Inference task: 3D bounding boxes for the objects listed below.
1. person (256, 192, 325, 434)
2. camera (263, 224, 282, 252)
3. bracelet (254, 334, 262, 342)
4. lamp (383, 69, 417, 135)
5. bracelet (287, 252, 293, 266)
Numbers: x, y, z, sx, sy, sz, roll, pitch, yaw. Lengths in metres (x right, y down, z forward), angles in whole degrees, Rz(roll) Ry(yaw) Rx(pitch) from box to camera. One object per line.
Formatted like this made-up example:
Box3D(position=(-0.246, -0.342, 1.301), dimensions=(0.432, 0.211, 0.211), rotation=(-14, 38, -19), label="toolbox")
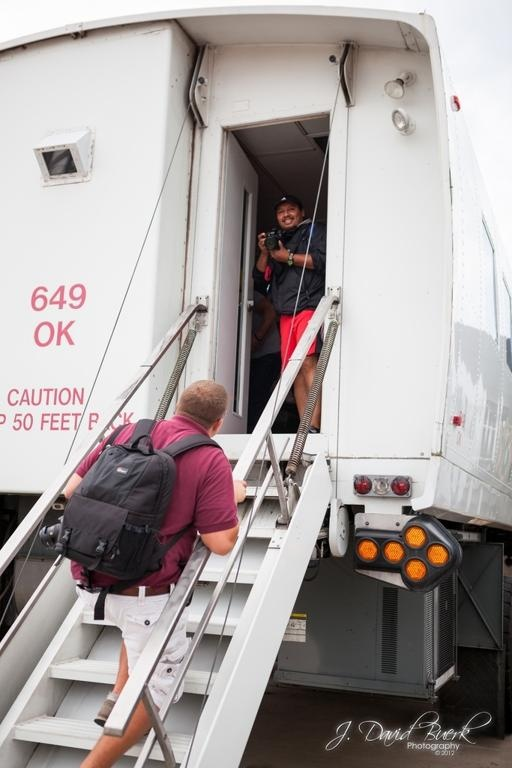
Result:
Box3D(position=(0.191, -0.476, 4.414), dimensions=(0.400, 1.638, 0.944), rotation=(4, -12, -8), label="person")
Box3D(position=(0.123, -0.866, 4.401), dimensions=(0.093, 0.134, 0.146), rotation=(4, -13, -20), label="camera")
Box3D(position=(0.009, -0.386, 6.010), dimensions=(0.064, 0.037, 0.045), rotation=(-15, 10, 13), label="bracelet")
Box3D(position=(0.723, -1.459, 3.717), dimensions=(0.158, 0.368, 0.144), rotation=(-1, -13, 17), label="lamp")
Box3D(position=(0.210, -0.763, 4.417), dimensions=(0.045, 0.063, 0.062), rotation=(-1, -40, 4), label="bracelet")
